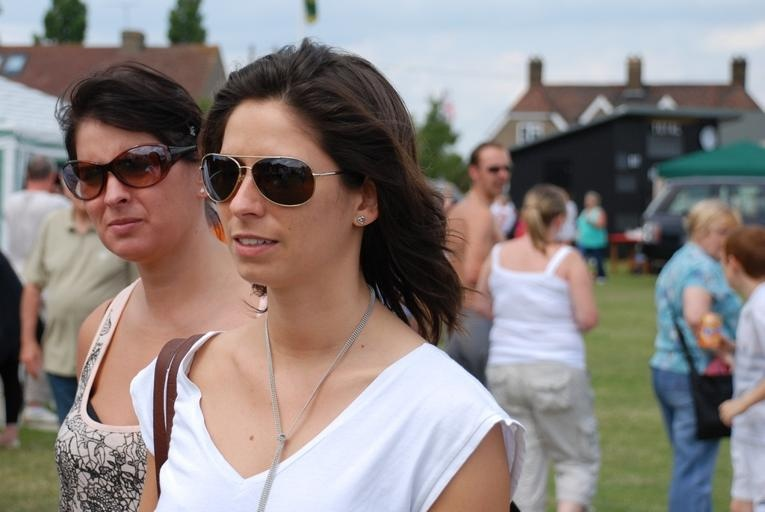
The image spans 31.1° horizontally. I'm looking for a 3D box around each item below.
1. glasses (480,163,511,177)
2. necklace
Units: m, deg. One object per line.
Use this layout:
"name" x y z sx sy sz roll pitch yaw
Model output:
"glasses" 0.814 -0.629 10.005 0.151 0.076 0.200 0 -8 1
"necklace" -0.337 0.669 6.638 0.378 1.173 0.102 18 -14 14
